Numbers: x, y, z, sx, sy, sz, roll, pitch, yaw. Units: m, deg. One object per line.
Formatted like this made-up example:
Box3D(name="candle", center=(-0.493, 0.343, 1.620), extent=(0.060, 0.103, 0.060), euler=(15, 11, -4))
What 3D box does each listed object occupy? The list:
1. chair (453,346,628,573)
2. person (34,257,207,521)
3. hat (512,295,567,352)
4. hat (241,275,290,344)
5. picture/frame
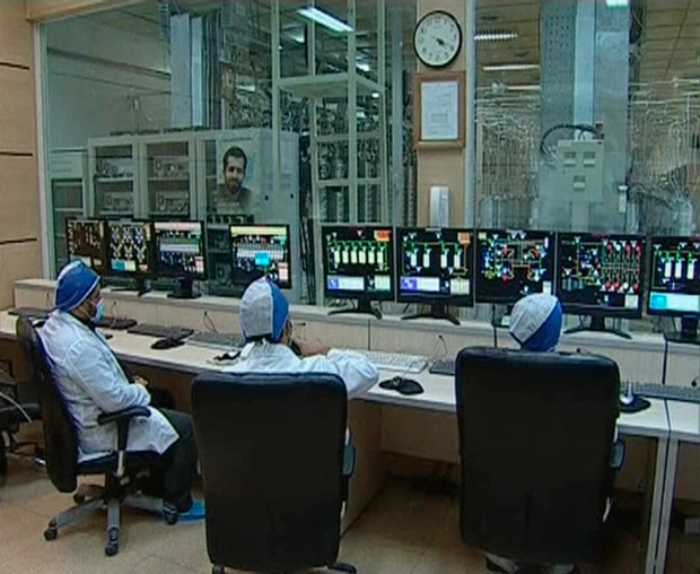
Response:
Box3D(name="chair", center=(0.668, 0.573, 2.875), extent=(0.678, 1.111, 0.707), euler=(2, 4, 13))
Box3D(name="person", center=(-1.234, 0.656, 3.583), extent=(0.622, 1.579, 0.740), euler=(11, 13, 41))
Box3D(name="hat", center=(0.806, 0.159, 2.957), extent=(0.200, 0.244, 0.178), euler=(3, 7, 35))
Box3D(name="hat", center=(-0.326, 0.093, 2.811), extent=(0.153, 0.278, 0.245), euler=(-2, -12, -1))
Box3D(name="picture/frame", center=(0.575, -1.092, 4.163), extent=(0.370, 0.639, 0.057), euler=(1, 3, 16))
